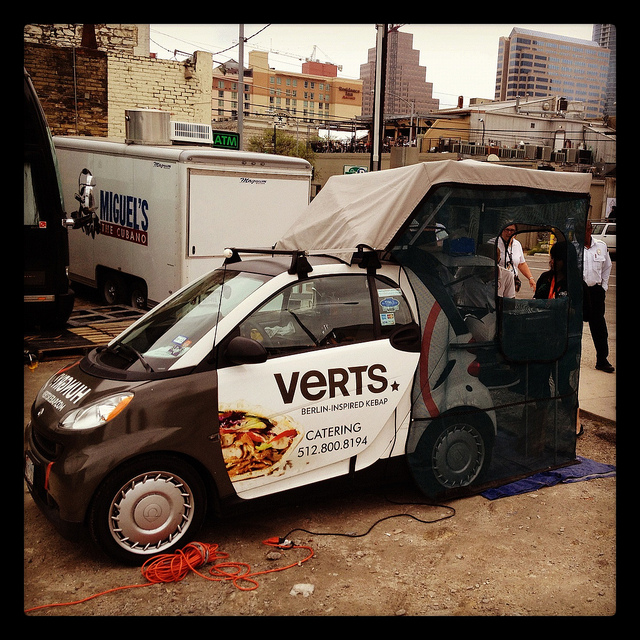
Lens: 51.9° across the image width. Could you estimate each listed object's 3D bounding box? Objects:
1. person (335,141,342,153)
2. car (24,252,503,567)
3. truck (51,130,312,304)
[{"bbox_3d":[1.776,-17.111,65.224,0.558,0.965,1.409,2,12,0],"label":"person"},{"bbox_3d":[-0.205,0.380,5.337,3.192,2.092,1.756,-4,12,-19],"label":"car"},{"bbox_3d":[-3.137,-2.114,11.559,4.611,3.059,2.739,14,19,39],"label":"truck"}]
